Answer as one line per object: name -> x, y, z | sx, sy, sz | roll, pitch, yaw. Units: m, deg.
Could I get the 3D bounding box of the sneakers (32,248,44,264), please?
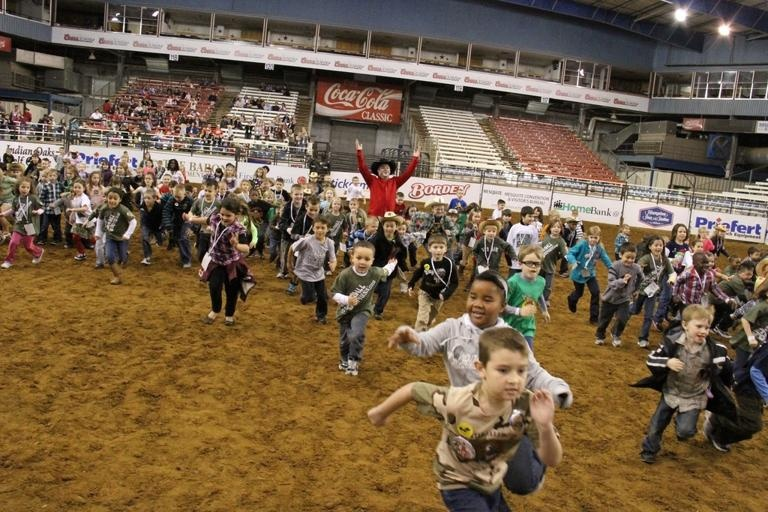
sneakers -> -8.920, 0.014, 16.232 | 0.131, 0.363, 0.140 | 27, -11, -17

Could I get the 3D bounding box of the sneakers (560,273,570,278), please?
sneakers -> 6.001, 0.643, 20.963 | 0.356, 0.185, 0.157 | 0, 11, -30

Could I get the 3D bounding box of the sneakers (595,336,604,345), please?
sneakers -> 5.181, 2.007, 15.039 | 0.288, 0.193, 0.135 | 3, 10, -17

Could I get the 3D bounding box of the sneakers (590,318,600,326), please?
sneakers -> 5.482, 1.701, 16.478 | 0.186, 0.197, 0.323 | 8, 10, 13

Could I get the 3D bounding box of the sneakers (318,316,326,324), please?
sneakers -> -1.437, 1.487, 14.603 | 0.215, 0.128, 0.168 | 4, 10, -10

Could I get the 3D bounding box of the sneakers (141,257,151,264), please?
sneakers -> -6.419, 0.120, 17.015 | 0.250, 0.185, 0.294 | 1, 10, -23

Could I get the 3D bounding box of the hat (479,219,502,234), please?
hat -> 2.684, -0.723, 15.656 | 0.559, 0.329, 0.393 | 3, 10, -13

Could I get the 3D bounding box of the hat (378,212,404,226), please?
hat -> 0.166, -0.853, 14.790 | 0.432, 0.251, 0.681 | 9, 10, 20

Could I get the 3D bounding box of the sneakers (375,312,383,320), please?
sneakers -> -0.085, 1.441, 15.138 | 0.267, 0.092, 0.191 | 6, 12, 10

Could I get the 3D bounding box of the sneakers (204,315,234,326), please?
sneakers -> -3.608, 1.431, 13.862 | 0.678, 0.189, 0.236 | 2, 6, -1

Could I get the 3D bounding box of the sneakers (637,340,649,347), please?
sneakers -> 6.168, 2.102, 15.058 | 0.130, 0.111, 0.259 | 4, -8, -9

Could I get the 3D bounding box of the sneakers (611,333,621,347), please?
sneakers -> 5.552, 2.005, 15.023 | 0.247, 0.267, 0.327 | 9, 10, 20
